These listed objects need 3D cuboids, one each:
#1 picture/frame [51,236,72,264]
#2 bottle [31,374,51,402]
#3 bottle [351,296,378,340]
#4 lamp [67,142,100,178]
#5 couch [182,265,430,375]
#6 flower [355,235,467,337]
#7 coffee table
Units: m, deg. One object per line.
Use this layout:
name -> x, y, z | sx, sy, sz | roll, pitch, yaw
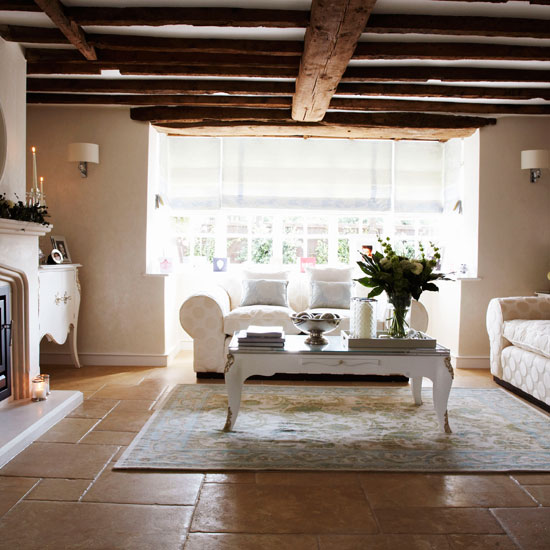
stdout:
picture/frame -> -1.868, -0.230, 4.588 | 0.148, 0.235, 0.369 | -2, 6, -20
bottle -> -1.557, 0.746, 3.530 | 0.080, 0.122, 0.160 | 0, -1, -6
bottle -> 0.473, 0.244, 3.104 | 0.207, 0.289, 0.198 | 0, -6, 0
lamp -> -1.665, -0.989, 4.641 | 0.274, 0.347, 0.293 | 4, 5, 40
couch -> 0.262, 0.363, 4.750 | 1.976, 0.912, 0.863 | 1, 1, 0
flower -> 0.786, 0.075, 3.306 | 0.493, 0.538, 0.527 | 10, 3, -16
coffee table -> 0.370, 0.640, 3.278 | 1.366, 0.555, 0.527 | 0, 5, -3
